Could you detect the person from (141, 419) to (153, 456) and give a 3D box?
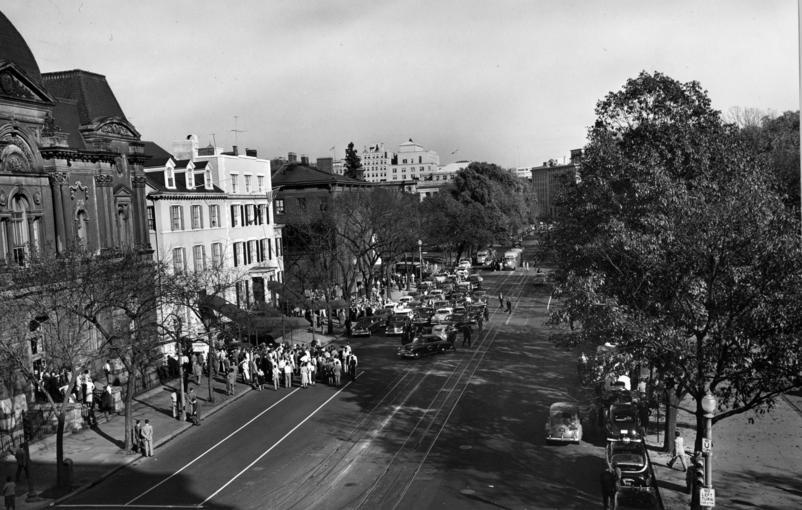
[{"bbox_3d":[-14.275,10.421,53.498,0.681,1.942,1.203,-5,13,-17],"label":"person"}]

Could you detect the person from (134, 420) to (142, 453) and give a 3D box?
[{"bbox_3d":[-14.775,10.411,53.563,0.452,1.649,1.073,-5,13,-16],"label":"person"}]

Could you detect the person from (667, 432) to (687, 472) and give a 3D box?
[{"bbox_3d":[14.522,10.550,50.526,1.055,1.620,1.275,5,14,24],"label":"person"}]
